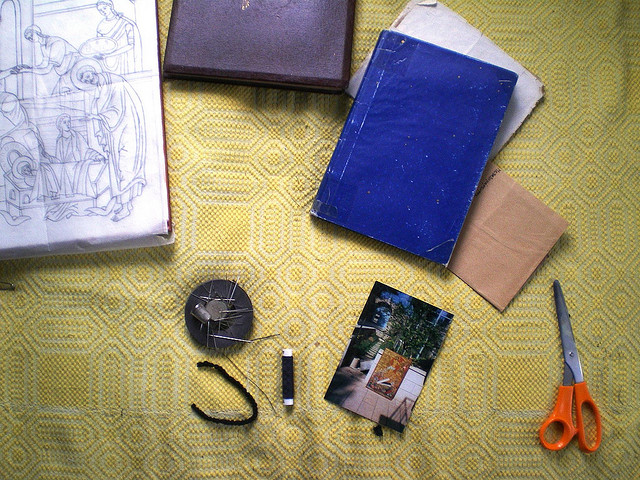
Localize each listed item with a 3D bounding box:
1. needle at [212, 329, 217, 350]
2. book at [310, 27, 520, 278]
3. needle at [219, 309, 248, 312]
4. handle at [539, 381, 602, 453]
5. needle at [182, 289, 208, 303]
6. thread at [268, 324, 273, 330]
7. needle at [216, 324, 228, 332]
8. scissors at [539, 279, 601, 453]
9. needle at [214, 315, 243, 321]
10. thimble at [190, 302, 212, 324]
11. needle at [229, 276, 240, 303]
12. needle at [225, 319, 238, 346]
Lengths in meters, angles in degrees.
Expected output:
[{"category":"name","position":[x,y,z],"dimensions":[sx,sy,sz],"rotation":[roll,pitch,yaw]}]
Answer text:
[{"category":"needle","position":[-0.227,0.209,1.403],"dimensions":[0.004,0.002,0.044],"rotation":[-14,84,5]},{"category":"book","position":[0.202,-0.209,1.413],"dimensions":[0.319,0.234,0.417],"rotation":[23,62,7]},{"category":"needle","position":[-0.185,0.150,1.405],"dimensions":[0.068,0.007,0.003],"rotation":[3,71,-22]},{"category":"handle","position":[0.539,0.389,1.419],"dimensions":[0.134,0.024,0.233],"rotation":[1,89,-1]},{"category":"needle","position":[-0.268,0.119,1.412],"dimensions":[0.043,0.007,0.003],"rotation":[34,75,-3]},{"category":"thread","position":[-0.108,0.187,1.427],"dimensions":[0.008,0.004,0.009],"rotation":[2,61,-4]},{"category":"needle","position":[-0.213,0.188,1.406],"dimensions":[0.024,0.002,0.002],"rotation":[40,97,-6]},{"category":"scissors","position":[0.549,0.277,1.419],"dimensions":[0.125,0.032,0.365],"rotation":[3,94,9]},{"category":"needle","position":[-0.200,0.166,1.402],"dimensions":[0.068,0.003,0.003],"rotation":[-9,99,-21]},{"category":"thimble","position":[-0.253,0.155,1.395],"dimensions":[0.049,0.028,0.030],"rotation":[42,65,17]},{"category":"needle","position":[-0.186,0.108,1.413],"dimensions":[0.005,0.003,0.058],"rotation":[18,81,14]},{"category":"needle","position":[-0.192,0.198,1.406],"dimensions":[0.004,0.002,0.063],"rotation":[-26,87,-6]}]
